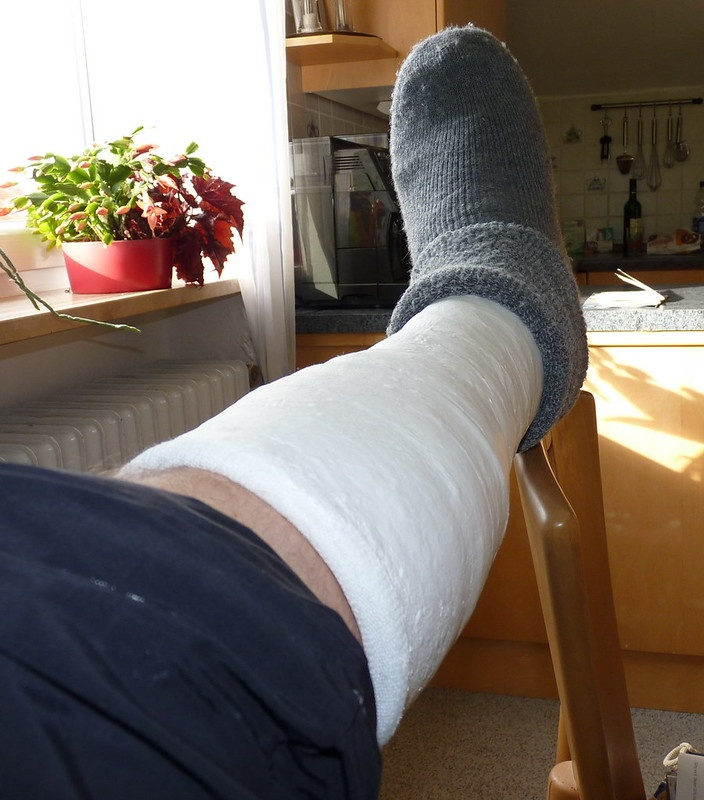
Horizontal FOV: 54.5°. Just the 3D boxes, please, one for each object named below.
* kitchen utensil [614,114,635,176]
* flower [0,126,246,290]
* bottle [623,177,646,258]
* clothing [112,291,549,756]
[{"bbox_3d":[1.332,-1.231,3.297,0.080,0.289,0.074,7,23,21],"label":"kitchen utensil"},{"bbox_3d":[-0.333,-0.273,1.075,0.363,0.218,0.252,-5,15,-23],"label":"flower"},{"bbox_3d":[1.345,-0.868,3.234,0.110,0.336,0.328,6,21,20],"label":"bottle"},{"bbox_3d":[0.018,0.035,0.374,0.125,0.098,0.265,29,31,14],"label":"clothing"}]
